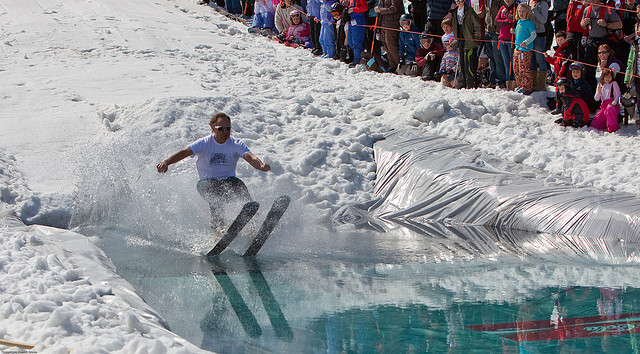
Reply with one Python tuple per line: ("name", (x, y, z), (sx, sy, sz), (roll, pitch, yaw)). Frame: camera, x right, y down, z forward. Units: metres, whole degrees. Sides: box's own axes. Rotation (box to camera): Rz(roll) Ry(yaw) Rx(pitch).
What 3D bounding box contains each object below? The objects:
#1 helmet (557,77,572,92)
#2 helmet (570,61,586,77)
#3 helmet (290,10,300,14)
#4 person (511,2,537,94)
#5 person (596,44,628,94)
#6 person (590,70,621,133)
("helmet", (5.813, -2.192, 18.157), (0.341, 0.316, 0.228), (4, 18, 12))
("helmet", (6.164, -2.601, 18.156), (0.349, 0.383, 0.399), (0, -11, 24))
("helmet", (-0.830, -5.340, 24.619), (0.284, 0.135, 0.329), (0, 16, -3))
("person", (5.036, -3.139, 18.800), (0.492, 2.241, 0.525), (5, 18, 13))
("person", (6.924, -2.390, 18.109), (0.721, 1.432, 0.476), (-15, 11, -13))
("person", (6.695, -1.772, 17.776), (0.655, 1.418, 0.353), (13, 22, 34))
